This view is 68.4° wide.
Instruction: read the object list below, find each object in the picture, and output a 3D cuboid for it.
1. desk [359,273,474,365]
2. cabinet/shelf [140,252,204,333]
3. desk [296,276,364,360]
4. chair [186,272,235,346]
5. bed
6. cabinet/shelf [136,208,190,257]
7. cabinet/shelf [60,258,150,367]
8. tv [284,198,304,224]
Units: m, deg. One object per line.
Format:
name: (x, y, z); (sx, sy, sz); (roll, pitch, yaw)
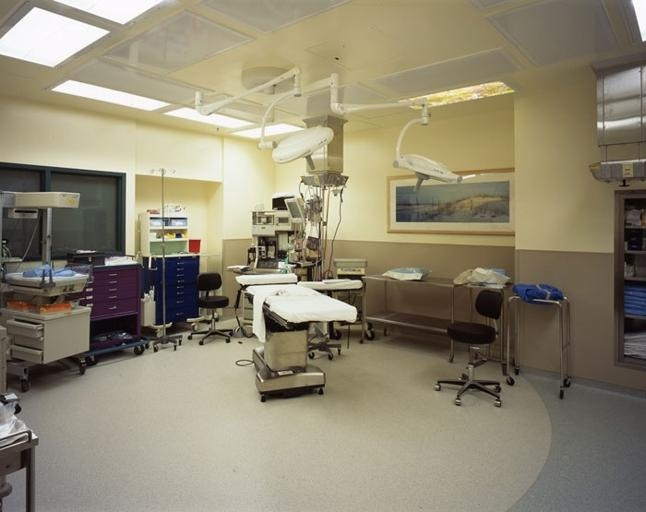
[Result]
desk: (1.059, 0.805, 6.227); (1.236, 0.861, 0.751); (3, 1, 21)
cabinet/shelf: (-2.254, 0.458, 6.981); (0.794, 1.018, 0.712); (-1, 8, -28)
desk: (-0.024, 0.761, 6.223); (1.039, 1.014, 0.793); (8, 0, -29)
chair: (-1.474, 0.693, 6.470); (0.597, 0.890, 0.621); (4, 4, 39)
bed: (-0.473, 0.830, 4.978); (0.753, 0.991, 1.510); (5, 8, -34)
cabinet/shelf: (-2.324, -0.330, 6.808); (0.280, 0.697, 0.688); (0, 1, 38)
cabinet/shelf: (-2.651, 0.639, 5.951); (0.837, 1.153, 0.742); (-3, 5, -30)
tv: (-0.407, -0.615, 6.616); (0.243, 0.359, 0.139); (1, 11, 3)
